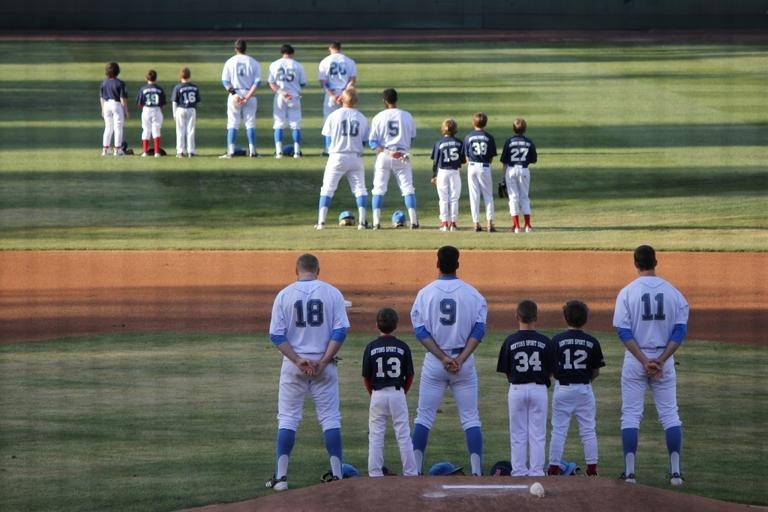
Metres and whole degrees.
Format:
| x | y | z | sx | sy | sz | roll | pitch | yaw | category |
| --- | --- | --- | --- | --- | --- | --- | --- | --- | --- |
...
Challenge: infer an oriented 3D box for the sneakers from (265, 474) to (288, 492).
| x | y | z | sx | sy | sz | roll | pitch | yaw | category |
| --- | --- | --- | --- | --- | --- | --- | --- | --- | --- |
| -2.593 | 5.469 | 47.910 | 0.603 | 0.240 | 0.252 | 2 | 2 | 20 | sneakers |

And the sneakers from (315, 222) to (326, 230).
| x | y | z | sx | sy | sz | roll | pitch | yaw | category |
| --- | --- | --- | --- | --- | --- | --- | --- | --- | --- |
| -1.834 | -0.804 | 55.814 | 0.158 | 0.168 | 0.205 | 2 | 15 | 2 | sneakers |

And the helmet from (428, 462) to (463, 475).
| x | y | z | sx | sy | sz | roll | pitch | yaw | category |
| --- | --- | --- | --- | --- | --- | --- | --- | --- | --- |
| 1.483 | 5.158 | 48.056 | 0.572 | 0.180 | 0.376 | -3 | -3 | 8 | helmet |

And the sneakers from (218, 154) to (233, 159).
| x | y | z | sx | sy | sz | roll | pitch | yaw | category |
| --- | --- | --- | --- | --- | --- | --- | --- | --- | --- |
| -4.885 | -2.985 | 60.839 | 0.310 | 0.108 | 0.177 | 4 | 4 | 10 | sneakers |

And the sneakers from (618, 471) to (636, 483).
| x | y | z | sx | sy | sz | roll | pitch | yaw | category |
| --- | --- | --- | --- | --- | --- | --- | --- | --- | --- |
| 5.879 | 5.333 | 48.031 | 0.380 | 0.194 | 0.234 | 0 | -1 | 6 | sneakers |

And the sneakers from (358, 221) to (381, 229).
| x | y | z | sx | sy | sz | roll | pitch | yaw | category |
| --- | --- | --- | --- | --- | --- | --- | --- | --- | --- |
| -0.403 | -0.838 | 56.090 | 0.642 | 0.224 | 0.218 | 0 | 4 | -15 | sneakers |

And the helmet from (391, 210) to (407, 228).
| x | y | z | sx | sy | sz | roll | pitch | yaw | category |
| --- | --- | --- | --- | --- | --- | --- | --- | --- | --- |
| 0.416 | -1.001 | 56.466 | 0.400 | 0.436 | 0.468 | 3 | 14 | 4 | helmet |

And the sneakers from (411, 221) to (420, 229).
| x | y | z | sx | sy | sz | roll | pitch | yaw | category |
| --- | --- | --- | --- | --- | --- | --- | --- | --- | --- |
| 0.847 | -0.833 | 55.969 | 0.224 | 0.228 | 0.575 | 2 | 4 | 14 | sneakers |

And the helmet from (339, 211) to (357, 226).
| x | y | z | sx | sy | sz | roll | pitch | yaw | category |
| --- | --- | --- | --- | --- | --- | --- | --- | --- | --- |
| -1.078 | -1.003 | 56.527 | 0.373 | 0.361 | 0.468 | 0 | -17 | -4 | helmet |
